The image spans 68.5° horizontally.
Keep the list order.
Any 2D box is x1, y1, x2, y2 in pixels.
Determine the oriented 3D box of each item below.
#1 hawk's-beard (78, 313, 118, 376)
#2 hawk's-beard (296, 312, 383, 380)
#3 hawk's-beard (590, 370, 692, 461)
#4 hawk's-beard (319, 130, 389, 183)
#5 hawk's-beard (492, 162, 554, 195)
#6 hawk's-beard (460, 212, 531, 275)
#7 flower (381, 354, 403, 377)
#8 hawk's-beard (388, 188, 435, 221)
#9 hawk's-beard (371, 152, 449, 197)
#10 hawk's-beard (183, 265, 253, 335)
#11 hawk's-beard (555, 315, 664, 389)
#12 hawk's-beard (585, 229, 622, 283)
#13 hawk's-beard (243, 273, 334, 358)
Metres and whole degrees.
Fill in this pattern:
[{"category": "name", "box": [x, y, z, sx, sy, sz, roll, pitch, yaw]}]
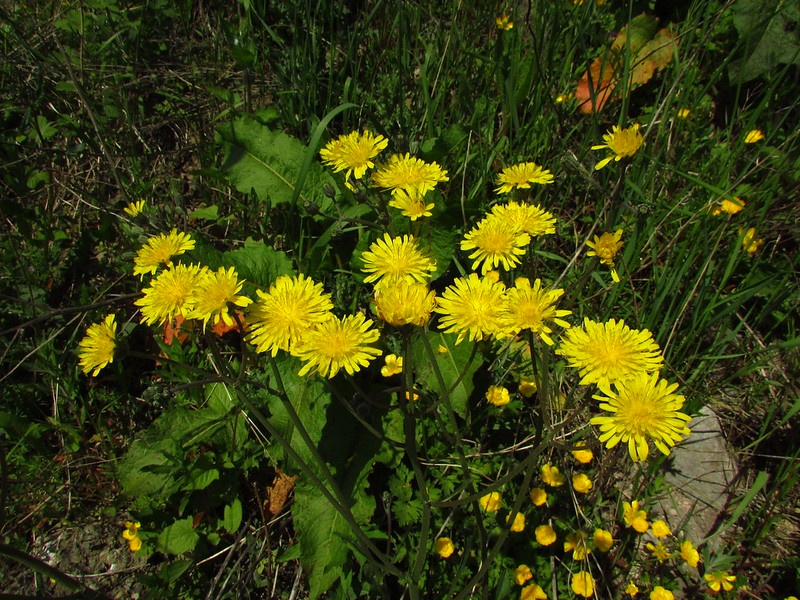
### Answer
[{"category": "hawk's-beard", "box": [-1.500, 0.200, 2.888, 0.240, 0.125, 0.269, -45, 29, 36]}, {"category": "hawk's-beard", "box": [-0.253, 0.179, 2.426, 0.414, 0.196, 0.395, -4, 13, -28]}, {"category": "hawk's-beard", "box": [0.938, 0.461, 2.290, 0.367, 0.150, 0.299, -15, 60, -5]}, {"category": "hawk's-beard", "box": [-0.252, -0.767, 3.111, 0.287, 0.175, 0.305, -28, 31, -8]}, {"category": "hawk's-beard", "box": [0.646, -0.639, 3.073, 0.215, 0.114, 0.242, -6, 19, 18]}, {"category": "hawk's-beard", "box": [0.471, -0.232, 2.857, 0.298, 0.161, 0.319, -44, 65, -7]}, {"category": "flower", "box": [-0.046, 0.364, 3.307, 0.129, 0.039, 0.156, 1, 61, 32]}, {"category": "hawk's-beard", "box": [0.054, -0.474, 2.919, 0.166, 0.078, 0.194, -18, 66, 4]}, {"category": "hawk's-beard", "box": [0.040, -0.627, 2.901, 0.249, 0.129, 0.296, 4, 31, 0]}, {"category": "hawk's-beard", "box": [-0.763, 0.002, 2.541, 0.249, 0.137, 0.280, -24, 41, 33]}, {"category": "hawk's-beard", "box": [0.871, 0.178, 2.361, 0.312, 0.142, 0.297, -39, 65, -21]}, {"category": "hawk's-beard", "box": [1.112, -0.244, 3.204, 0.246, 0.119, 0.298, -11, 65, 30]}, {"category": "hawk's-beard", "box": [-0.463, 0.038, 2.503, 0.283, 0.150, 0.313, 22, 15, 33]}]
